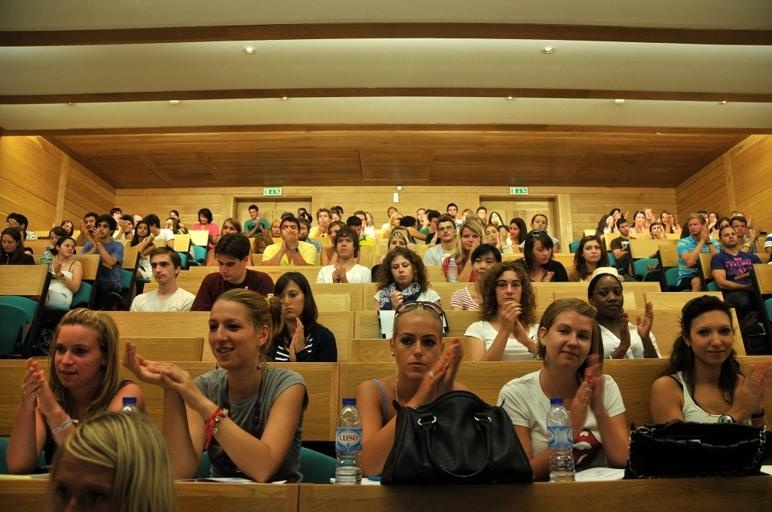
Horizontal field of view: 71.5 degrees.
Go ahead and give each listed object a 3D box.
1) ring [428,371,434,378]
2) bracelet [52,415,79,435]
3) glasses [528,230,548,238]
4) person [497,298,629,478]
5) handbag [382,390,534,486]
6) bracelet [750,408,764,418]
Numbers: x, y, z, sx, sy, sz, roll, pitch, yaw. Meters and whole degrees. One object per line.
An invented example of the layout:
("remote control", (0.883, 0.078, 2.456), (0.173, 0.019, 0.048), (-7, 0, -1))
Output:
("ring", (0.194, 0.512, 2.306), (0.022, 0.015, 0.021), (0, -4, 0))
("bracelet", (-1.472, 0.779, 2.475), (0.088, 0.025, 0.079), (-30, -3, 22))
("glasses", (1.450, -0.207, 5.144), (0.112, 0.032, 0.108), (1, -28, 5))
("person", (0.870, 0.672, 2.647), (0.663, 0.887, 0.500), (1, -48, 5))
("handbag", (0.274, 0.601, 2.063), (0.555, 0.315, 0.284), (0, -15, -1))
("bracelet", (1.846, 0.783, 2.665), (0.057, 0.040, 0.056), (-2, -4, 16))
